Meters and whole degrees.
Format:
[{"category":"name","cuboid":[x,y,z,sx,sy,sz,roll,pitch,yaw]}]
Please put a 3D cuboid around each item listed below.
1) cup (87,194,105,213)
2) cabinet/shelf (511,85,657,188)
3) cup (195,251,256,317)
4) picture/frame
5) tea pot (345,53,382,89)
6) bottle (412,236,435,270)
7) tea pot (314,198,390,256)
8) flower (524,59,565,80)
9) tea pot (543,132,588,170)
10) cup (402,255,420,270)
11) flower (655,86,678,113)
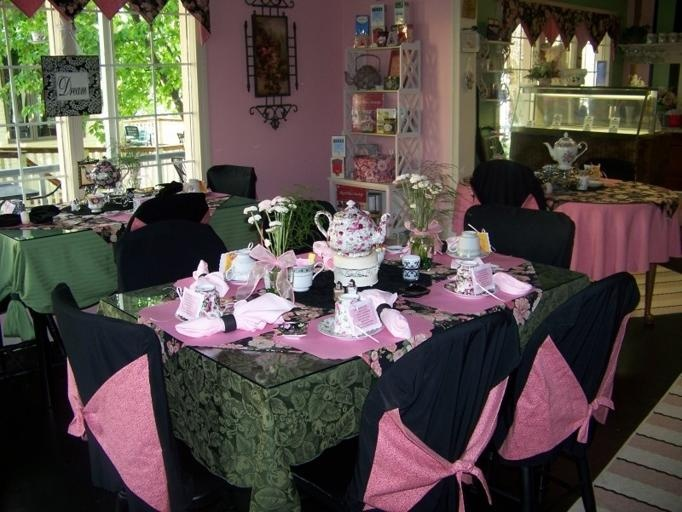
[{"category":"cup","cuboid":[-1.727,-0.378,3.559,0.118,0.142,0.125,1,5,0]},{"category":"cabinet/shelf","cuboid":[2.777,-1.306,5.981,1.357,1.364,0.704,14,13,33]},{"category":"cup","cuboid":[-0.482,0.097,2.009,0.187,0.100,0.260,18,36,36]},{"category":"picture/frame","cuboid":[-2.278,-1.438,4.137,0.474,0.491,0.052,-18,30,-41]},{"category":"tea pot","cuboid":[0.263,-2.098,5.637,0.373,0.507,0.163,-1,-1,7]},{"category":"bottle","cuboid":[0.367,-0.029,2.334,0.138,0.183,0.147,-1,0,0]},{"category":"tea pot","cuboid":[0.042,-0.117,2.093,0.317,0.239,0.225,5,14,27]},{"category":"flower","cuboid":[2.720,-2.461,6.561,0.290,0.217,0.286,-11,24,-22]},{"category":"tea pot","cuboid":[2.005,-0.936,4.398,0.353,0.295,0.220,-3,20,8]},{"category":"cup","cuboid":[0.300,0.019,2.101,0.057,0.049,0.059,2,12,0]},{"category":"flower","cuboid":[5.258,-2.521,7.942,0.610,0.391,0.217,-9,12,-33]}]
